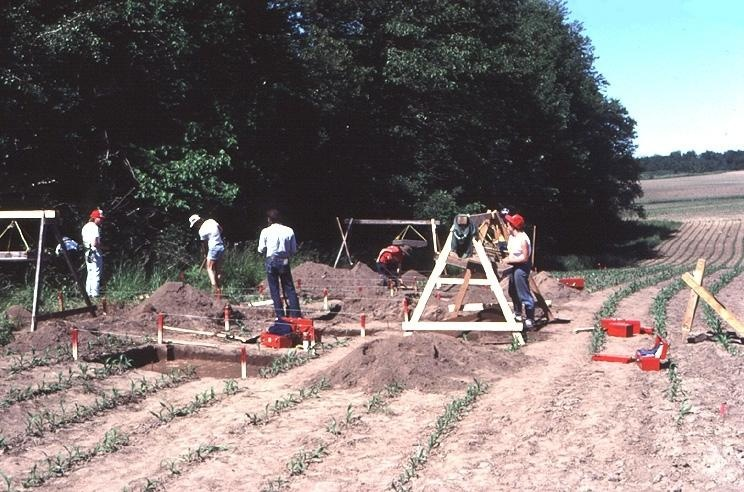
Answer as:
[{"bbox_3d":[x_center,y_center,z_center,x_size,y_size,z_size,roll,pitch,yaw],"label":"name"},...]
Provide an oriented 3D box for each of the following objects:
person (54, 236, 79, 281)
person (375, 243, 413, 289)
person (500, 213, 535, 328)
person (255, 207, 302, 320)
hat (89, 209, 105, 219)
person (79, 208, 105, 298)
[{"bbox_3d":[-8.419,0.344,19.204,0.474,1.078,0.730,-21,5,-29],"label":"person"},{"bbox_3d":[0.571,0.564,20.987,0.809,1.296,1.448,-4,1,20],"label":"person"},{"bbox_3d":[3.318,0.579,15.934,0.639,2.441,0.876,-4,0,11],"label":"person"},{"bbox_3d":[-2.131,0.401,15.943,0.802,2.518,0.500,-4,0,-9],"label":"person"},{"bbox_3d":[-7.788,-0.919,19.715,0.391,0.208,0.394,-1,5,-26],"label":"hat"},{"bbox_3d":[-7.527,0.191,18.889,0.538,2.501,1.496,-4,0,-22],"label":"person"}]
